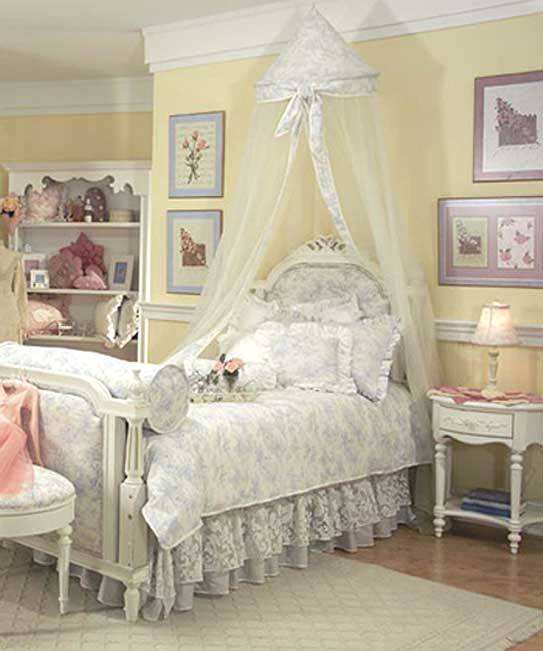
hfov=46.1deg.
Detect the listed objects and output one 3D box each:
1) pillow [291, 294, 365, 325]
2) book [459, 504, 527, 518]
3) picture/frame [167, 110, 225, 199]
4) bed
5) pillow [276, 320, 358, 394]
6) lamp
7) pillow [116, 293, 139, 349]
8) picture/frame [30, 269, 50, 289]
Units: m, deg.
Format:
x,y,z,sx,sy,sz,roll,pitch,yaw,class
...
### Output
x,y,z,sx,sy,sz,roll,pitch,yaw,class
0.311,-0.073,3.519,0.281,0.099,0.180,-6,18,10,pillow
1.050,0.871,3.002,0.127,0.029,0.129,0,-1,43,book
-0.515,-1.197,4.479,0.690,0.782,0.028,4,7,31,picture/frame
-0.213,0.455,2.979,1.666,1.283,1.665,-1,3,-40,bed
0.235,0.155,3.214,0.368,0.321,0.081,-1,-20,26,pillow
1.102,0.118,3.149,0.200,0.463,0.401,2,6,21,lamp
-1.202,-0.030,5.321,0.122,0.381,0.352,16,-12,-37,pillow
-2.018,-0.393,5.544,0.180,0.198,0.022,-2,-4,-14,picture/frame
